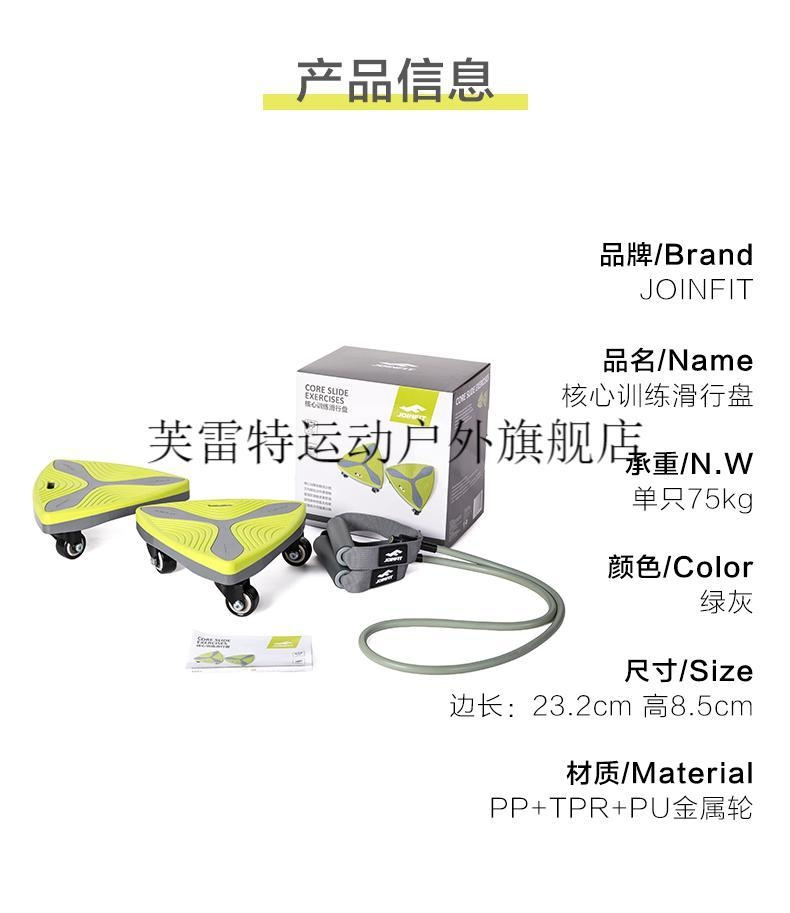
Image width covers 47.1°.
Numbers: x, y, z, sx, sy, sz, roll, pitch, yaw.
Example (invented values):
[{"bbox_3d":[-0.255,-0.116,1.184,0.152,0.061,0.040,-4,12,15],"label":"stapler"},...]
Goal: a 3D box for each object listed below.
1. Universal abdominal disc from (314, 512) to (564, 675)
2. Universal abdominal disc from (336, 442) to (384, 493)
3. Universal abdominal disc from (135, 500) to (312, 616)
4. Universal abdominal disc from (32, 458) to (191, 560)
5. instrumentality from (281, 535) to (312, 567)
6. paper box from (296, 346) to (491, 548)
[{"bbox_3d":[0.101,0.430,3.403,0.789,0.158,0.750,-4,20,1],"label":"Universal abdominal disc"},{"bbox_3d":[-0.142,0.045,3.786,0.195,0.189,0.051,32,25,12],"label":"Universal abdominal disc"},{"bbox_3d":[-0.705,0.359,3.479,0.634,0.388,0.601,0,2,0],"label":"Universal abdominal disc"},{"bbox_3d":[-1.102,0.210,3.544,0.491,0.166,0.376,2,30,-18],"label":"Universal abdominal disc"},{"bbox_3d":[-0.393,0.369,3.564,0.089,0.133,0.071,14,36,1],"label":"instrumentality"},{"bbox_3d":[-0.011,-0.042,3.972,0.736,0.628,0.513,6,10,25],"label":"paper box"}]
